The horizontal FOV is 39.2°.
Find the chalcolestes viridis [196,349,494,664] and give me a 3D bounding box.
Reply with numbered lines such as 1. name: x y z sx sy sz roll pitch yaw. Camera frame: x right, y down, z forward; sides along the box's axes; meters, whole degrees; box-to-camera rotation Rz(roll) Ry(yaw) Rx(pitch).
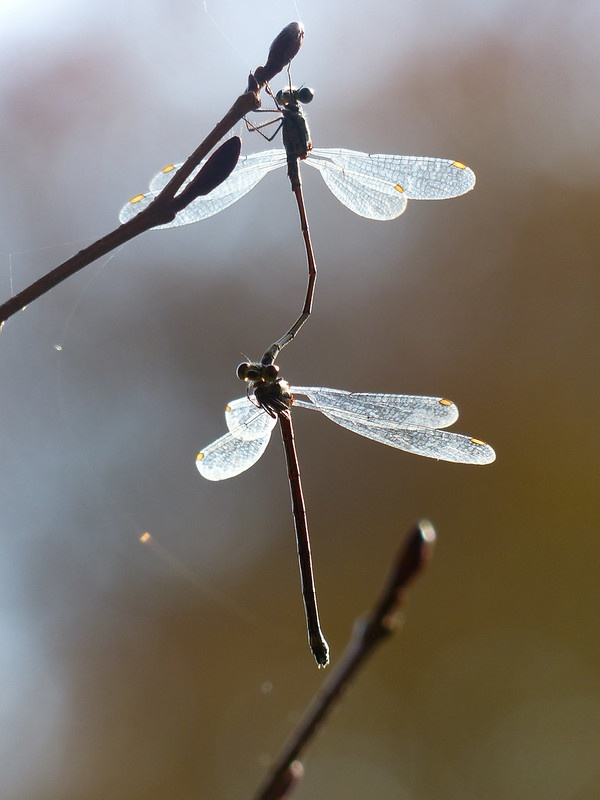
1. chalcolestes viridis: 0.090 0.166 1.408 0.489 0.504 0.127 -11 -17 -8

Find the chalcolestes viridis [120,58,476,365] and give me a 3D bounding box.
1. chalcolestes viridis: 0.059 -0.382 1.713 0.672 0.446 0.248 -1 10 2
